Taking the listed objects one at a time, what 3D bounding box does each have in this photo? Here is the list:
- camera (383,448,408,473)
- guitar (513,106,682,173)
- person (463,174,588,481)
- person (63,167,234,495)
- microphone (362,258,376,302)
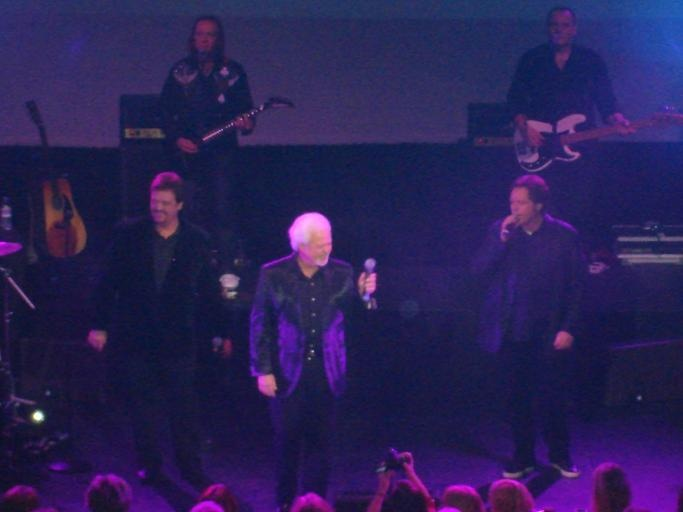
[{"bbox_3d":[0.360,1.374,4.798,0.156,0.157,0.155,3,-12,-7],"label":"camera"},{"bbox_3d":[1.644,-0.799,5.082,0.813,0.437,0.084,3,5,3],"label":"guitar"},{"bbox_3d":[1.332,0.499,5.041,0.755,2.124,0.269,2,5,0],"label":"person"},{"bbox_3d":[-1.256,0.518,4.999,0.935,2.182,0.246,3,5,1],"label":"person"},{"bbox_3d":[0.200,0.157,4.677,0.088,0.294,0.085,1,-6,-27],"label":"microphone"}]
